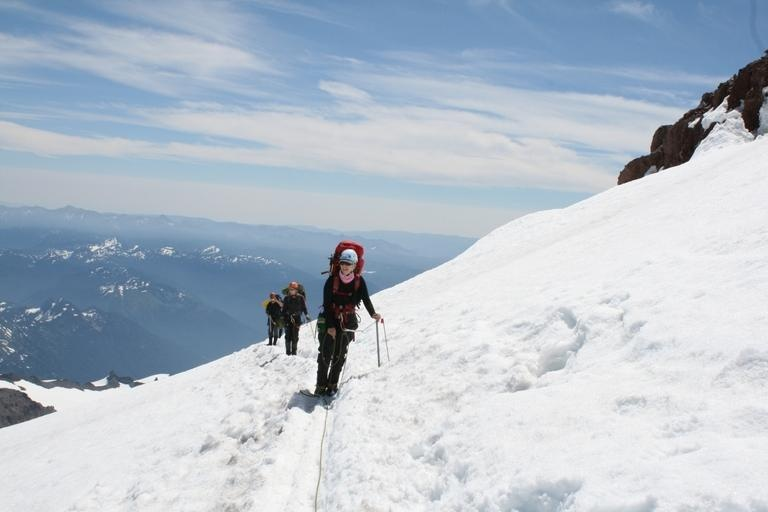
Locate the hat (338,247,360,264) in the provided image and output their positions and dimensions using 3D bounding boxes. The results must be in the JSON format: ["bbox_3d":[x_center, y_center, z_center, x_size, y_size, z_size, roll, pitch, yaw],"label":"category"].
[{"bbox_3d":[-1.167,0.014,20.388,0.651,0.512,0.538,6,10,-5],"label":"hat"}]

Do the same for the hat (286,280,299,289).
[{"bbox_3d":[-4.033,1.312,27.848,0.505,0.353,0.688,0,12,1],"label":"hat"}]
